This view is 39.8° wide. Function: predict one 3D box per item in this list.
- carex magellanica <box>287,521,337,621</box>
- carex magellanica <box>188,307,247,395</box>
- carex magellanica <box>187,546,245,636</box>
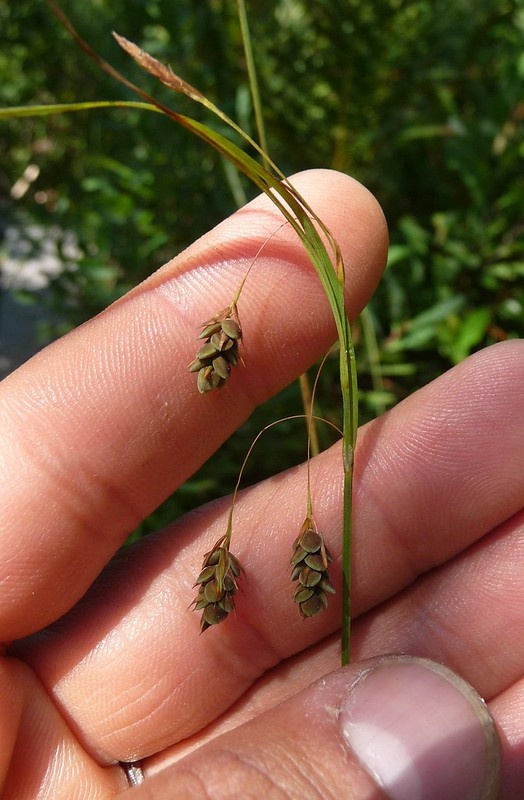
[{"bbox_3d":[0.062,0.225,0.963,0.062,0.057,0.137,-4,85,5],"label":"carex magellanica"},{"bbox_3d":[-0.057,-0.079,0.989,0.064,0.055,0.132,8,87,44],"label":"carex magellanica"},{"bbox_3d":[-0.057,0.258,0.993,0.072,0.071,0.132,13,104,33],"label":"carex magellanica"}]
